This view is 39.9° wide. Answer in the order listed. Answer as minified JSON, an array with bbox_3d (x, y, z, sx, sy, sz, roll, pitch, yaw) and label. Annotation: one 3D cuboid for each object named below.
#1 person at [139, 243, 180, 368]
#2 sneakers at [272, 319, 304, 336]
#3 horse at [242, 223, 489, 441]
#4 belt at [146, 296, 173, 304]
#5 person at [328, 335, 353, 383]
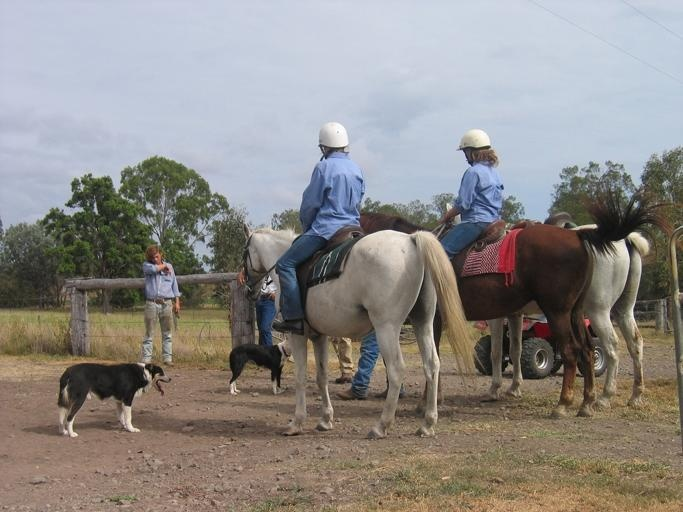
[{"bbox_3d":[-3.955,1.013,20.192,0.600,2.570,1.037,-4,-6,32],"label":"person"},{"bbox_3d":[-0.806,1.089,14.425,0.499,0.275,0.194,6,0,10],"label":"sneakers"},{"bbox_3d":[-0.030,1.098,14.853,4.543,3.667,1.250,-6,-3,42],"label":"horse"},{"bbox_3d":[-3.906,0.957,20.193,0.579,0.143,0.236,2,-7,-30],"label":"belt"},{"bbox_3d":[0.070,2.164,19.171,0.345,1.034,0.290,-11,-41,14],"label":"person"}]
